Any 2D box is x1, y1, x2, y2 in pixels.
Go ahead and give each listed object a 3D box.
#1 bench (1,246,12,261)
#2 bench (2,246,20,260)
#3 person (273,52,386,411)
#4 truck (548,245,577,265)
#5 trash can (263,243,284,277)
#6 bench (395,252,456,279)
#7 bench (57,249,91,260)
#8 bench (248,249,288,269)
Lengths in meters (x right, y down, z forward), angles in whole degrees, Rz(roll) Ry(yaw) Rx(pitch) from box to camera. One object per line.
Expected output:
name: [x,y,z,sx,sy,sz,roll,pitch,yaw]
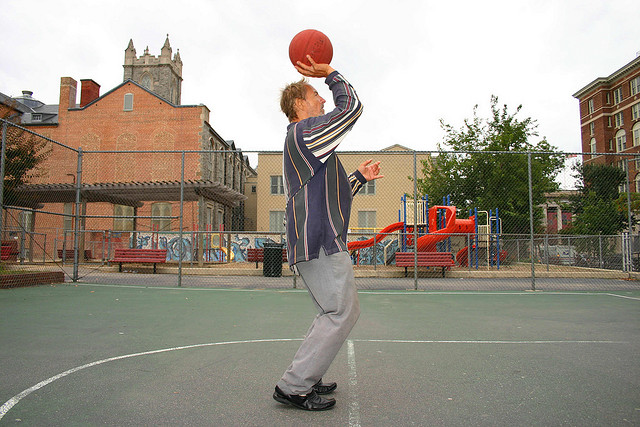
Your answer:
bench: [-10.259,1.298,16.178,0.162,0.722,0.632,7,-11,-31]
bench: [-10.223,1.322,16.324,0.430,0.492,1.448,2,-8,-33]
person: [0.010,0.151,4.968,0.838,3.617,0.403,-1,-6,-6]
truck: [10.723,1.904,22.037,1.349,0.737,1.965,-1,-6,3]
trash can: [-1.463,1.494,15.455,0.827,1.172,0.860,0,-2,6]
bench: [3.246,1.643,15.401,1.746,0.747,0.626,0,-2,5]
bench: [-12.090,2.021,24.371,1.452,0.609,2.957,1,-8,-28]
bench: [-1.753,1.548,16.780,1.444,0.944,0.548,-1,-3,-12]
